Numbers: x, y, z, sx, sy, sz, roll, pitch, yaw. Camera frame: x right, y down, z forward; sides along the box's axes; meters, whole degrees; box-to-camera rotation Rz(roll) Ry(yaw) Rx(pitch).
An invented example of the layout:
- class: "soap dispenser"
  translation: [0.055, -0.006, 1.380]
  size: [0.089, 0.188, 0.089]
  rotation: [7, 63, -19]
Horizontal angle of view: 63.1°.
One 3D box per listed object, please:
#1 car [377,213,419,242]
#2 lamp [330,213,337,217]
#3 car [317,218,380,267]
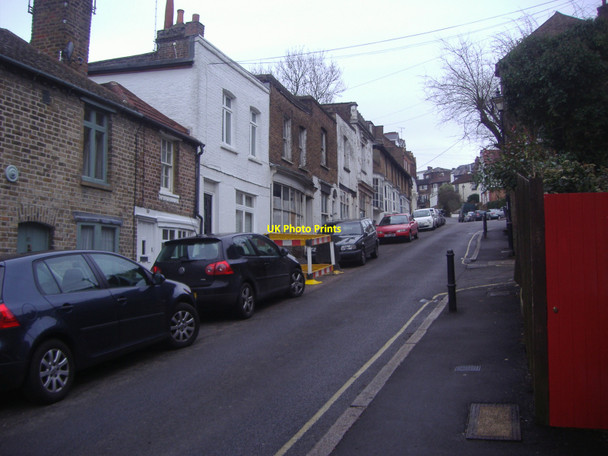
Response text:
- class: "car"
  translation: [5.698, 0.007, 29.986]
  size: [1.346, 1.196, 3.294]
  rotation: [-4, -4, 16]
- class: "lamp"
  translation: [1.920, -0.784, 31.584]
  size: [0.282, 0.348, 0.330]
  rotation: [0, 0, 19]
- class: "car"
  translation: [1.977, 0.551, 20.350]
  size: [1.381, 1.288, 2.954]
  rotation: [-3, -4, 17]
